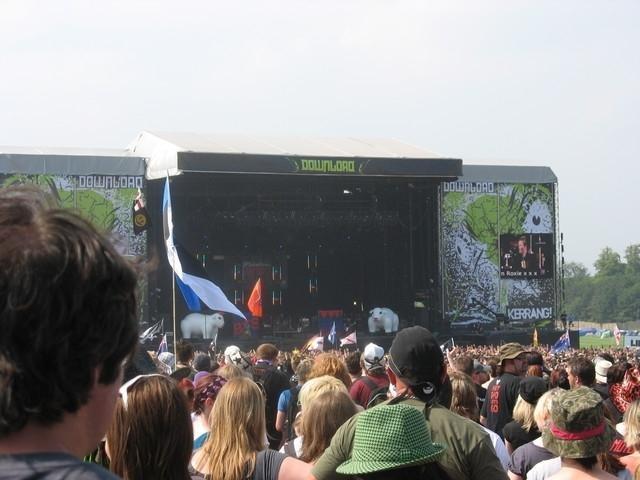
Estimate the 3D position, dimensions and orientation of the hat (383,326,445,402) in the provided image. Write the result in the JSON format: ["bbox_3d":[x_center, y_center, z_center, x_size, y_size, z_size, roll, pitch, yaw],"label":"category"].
[{"bbox_3d":[0.981,1.245,12.126,0.561,0.751,0.205,0,-6,5],"label":"hat"}]

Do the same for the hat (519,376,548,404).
[{"bbox_3d":[2.553,1.809,14.390,0.319,0.330,0.383,0,-7,9],"label":"hat"}]

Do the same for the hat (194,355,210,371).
[{"bbox_3d":[-1.648,1.745,16.993,0.170,0.237,0.227,1,8,-6],"label":"hat"}]

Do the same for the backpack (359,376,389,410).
[{"bbox_3d":[0.616,1.858,14.795,0.402,0.434,0.296,1,-1,-14],"label":"backpack"}]

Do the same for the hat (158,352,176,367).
[{"bbox_3d":[-2.199,1.735,17.509,0.223,0.189,0.177,19,-18,-35],"label":"hat"}]

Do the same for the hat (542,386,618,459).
[{"bbox_3d":[2.632,1.899,12.206,0.552,0.393,0.722,-6,24,12],"label":"hat"}]

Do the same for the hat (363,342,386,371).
[{"bbox_3d":[0.702,1.510,15.463,0.259,0.353,0.387,1,-6,3],"label":"hat"}]

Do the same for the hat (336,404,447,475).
[{"bbox_3d":[0.718,1.876,11.680,0.735,0.445,0.694,0,0,1],"label":"hat"}]

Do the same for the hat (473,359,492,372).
[{"bbox_3d":[2.267,1.823,17.082,0.256,0.148,0.424,2,-1,17],"label":"hat"}]

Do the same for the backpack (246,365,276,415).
[{"bbox_3d":[-0.670,1.945,16.009,0.395,0.604,0.541,-1,0,3],"label":"backpack"}]

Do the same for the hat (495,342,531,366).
[{"bbox_3d":[2.532,1.501,15.847,0.352,0.291,0.505,0,-7,9],"label":"hat"}]
